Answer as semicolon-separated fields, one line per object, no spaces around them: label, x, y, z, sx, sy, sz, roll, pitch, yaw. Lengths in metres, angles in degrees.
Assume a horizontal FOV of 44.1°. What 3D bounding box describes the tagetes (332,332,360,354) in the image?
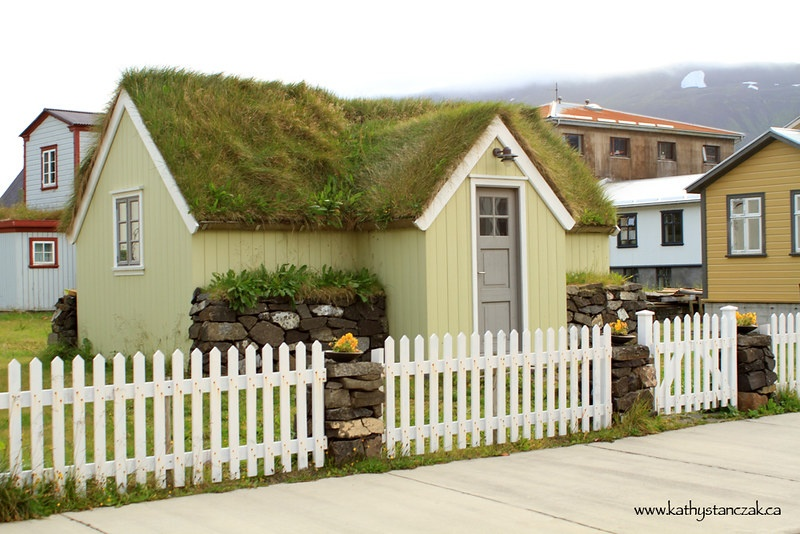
tagetes;-0.807;1.131;14.709;0.409;0.300;0.394;-3;1;-9

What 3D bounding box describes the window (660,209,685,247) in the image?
window;10.651;-1.567;38.442;0.139;1.799;1.342;-4;4;-35

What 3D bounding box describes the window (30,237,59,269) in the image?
window;-11.830;-0.492;32.788;0.072;1.031;0.980;-1;0;44

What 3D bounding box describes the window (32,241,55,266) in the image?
window;-11.854;-0.477;32.811;0.772;0.816;0.060;0;0;-41

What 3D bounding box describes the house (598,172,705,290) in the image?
house;9.265;-1.131;35.889;2.906;4.302;4.098;2;-4;-41

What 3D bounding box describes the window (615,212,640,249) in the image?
window;8.895;-1.444;38.428;0.133;1.754;1.324;3;-3;-29
